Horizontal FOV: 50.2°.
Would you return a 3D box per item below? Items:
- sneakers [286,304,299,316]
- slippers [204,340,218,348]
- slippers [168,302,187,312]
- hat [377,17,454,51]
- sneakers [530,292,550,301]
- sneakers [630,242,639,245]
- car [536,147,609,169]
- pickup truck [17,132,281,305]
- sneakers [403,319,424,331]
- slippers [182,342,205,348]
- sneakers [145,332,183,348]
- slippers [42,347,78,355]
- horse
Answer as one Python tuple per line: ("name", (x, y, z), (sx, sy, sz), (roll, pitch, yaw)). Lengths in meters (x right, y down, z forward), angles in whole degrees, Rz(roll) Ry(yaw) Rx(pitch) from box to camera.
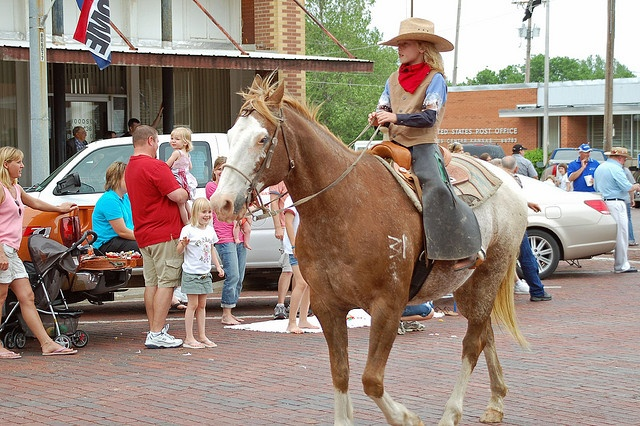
("sneakers", (-0.446, 1.558, 10.992), (0.277, 0.164, 0.381), (2, -7, -8))
("slippers", (-1.527, 1.813, 9.462), (0.075, 0.063, 0.187), (-4, 4, -44))
("slippers", (-2.578, 1.667, 12.163), (0.384, 0.085, 0.137), (-1, 1, 21))
("hat", (0.924, -1.722, 6.543), (0.772, 0.240, 0.593), (7, 6, 1))
("sneakers", (4.030, 1.501, 12.417), (0.459, 0.154, 0.263), (-1, 4, -2))
("sneakers", (9.112, 0.870, 19.779), (0.350, 0.124, 0.124), (-6, 6, -45))
("car", (11.914, -2.781, 32.060), (2.034, 1.309, 3.491), (0, 3, 9))
("pickup truck", (-2.381, -0.106, 11.594), (4.973, 1.916, 2.496), (1, -3, -28))
("sneakers", (1.411, 1.700, 10.370), (0.408, 0.161, 0.137), (5, 1, -14))
("slippers", (-1.753, 1.811, 9.428), (0.260, 0.084, 0.096), (-3, -5, 22))
("sneakers", (-2.191, 1.753, 9.489), (0.579, 0.228, 0.196), (2, 2, -13))
("slippers", (-3.466, 1.837, 9.026), (0.412, 0.088, 0.147), (-3, -3, -1))
("horse", (0.595, 0.449, 6.252), (3.157, 3.302, 1.064), (-5, 7, -42))
